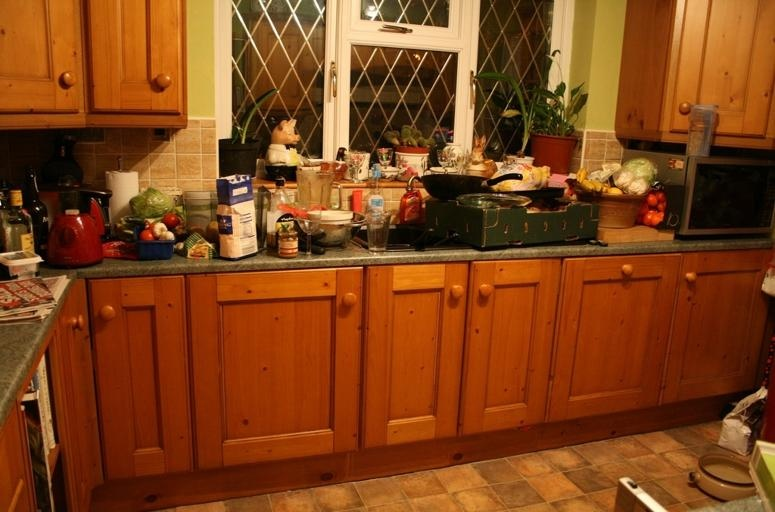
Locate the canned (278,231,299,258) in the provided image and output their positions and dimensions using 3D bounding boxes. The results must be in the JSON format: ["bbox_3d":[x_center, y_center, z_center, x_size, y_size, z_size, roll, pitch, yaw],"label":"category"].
[{"bbox_3d":[-0.485,-0.058,2.865,0.112,0.124,0.111,-2,11,-21],"label":"canned"}]

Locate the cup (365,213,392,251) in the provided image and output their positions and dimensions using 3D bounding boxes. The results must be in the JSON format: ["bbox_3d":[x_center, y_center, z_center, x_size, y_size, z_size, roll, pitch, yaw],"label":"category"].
[{"bbox_3d":[-0.063,-0.131,2.987,0.156,0.203,0.091,8,18,30],"label":"cup"}]

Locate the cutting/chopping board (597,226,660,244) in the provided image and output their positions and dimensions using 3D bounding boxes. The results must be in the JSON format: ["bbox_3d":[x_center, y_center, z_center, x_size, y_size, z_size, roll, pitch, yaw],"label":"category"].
[{"bbox_3d":[1.388,-0.125,3.376,0.446,0.068,0.160,-7,17,-21],"label":"cutting/chopping board"}]

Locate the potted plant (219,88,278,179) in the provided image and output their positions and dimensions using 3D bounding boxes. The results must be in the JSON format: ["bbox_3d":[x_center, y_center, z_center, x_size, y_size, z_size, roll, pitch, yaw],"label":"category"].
[{"bbox_3d":[-0.809,-0.682,3.323,0.282,0.442,0.227,-2,8,-4],"label":"potted plant"}]

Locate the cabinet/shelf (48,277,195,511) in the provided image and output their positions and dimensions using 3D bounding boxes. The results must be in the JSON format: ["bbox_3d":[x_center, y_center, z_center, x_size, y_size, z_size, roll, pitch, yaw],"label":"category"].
[{"bbox_3d":[-1.202,0.601,2.689,0.627,1.000,0.325,-12,19,-33],"label":"cabinet/shelf"}]

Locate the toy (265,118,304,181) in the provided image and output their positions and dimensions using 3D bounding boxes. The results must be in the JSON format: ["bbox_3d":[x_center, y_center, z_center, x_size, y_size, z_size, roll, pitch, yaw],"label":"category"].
[{"bbox_3d":[-0.597,-0.629,3.416,0.221,0.356,0.236,0,15,-19],"label":"toy"}]

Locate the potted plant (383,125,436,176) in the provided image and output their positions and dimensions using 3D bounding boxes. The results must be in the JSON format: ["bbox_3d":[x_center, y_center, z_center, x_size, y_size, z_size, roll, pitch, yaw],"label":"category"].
[{"bbox_3d":[0.115,-0.661,3.739,0.327,0.376,0.298,-1,8,-15],"label":"potted plant"}]

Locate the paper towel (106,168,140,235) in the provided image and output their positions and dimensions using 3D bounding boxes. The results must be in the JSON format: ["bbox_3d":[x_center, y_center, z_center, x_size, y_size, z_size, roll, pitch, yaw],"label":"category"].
[{"bbox_3d":[-1.363,-0.305,3.033,0.160,0.268,0.087,-8,17,-24],"label":"paper towel"}]

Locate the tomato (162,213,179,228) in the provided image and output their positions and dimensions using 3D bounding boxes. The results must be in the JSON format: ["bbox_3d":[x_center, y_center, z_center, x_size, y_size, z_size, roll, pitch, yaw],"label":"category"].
[{"bbox_3d":[-1.067,-0.180,2.890,0.071,0.069,0.071,-3,-2,0],"label":"tomato"}]

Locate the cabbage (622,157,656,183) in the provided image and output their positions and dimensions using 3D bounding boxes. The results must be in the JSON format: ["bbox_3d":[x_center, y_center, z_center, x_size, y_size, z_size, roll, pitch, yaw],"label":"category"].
[{"bbox_3d":[1.490,-0.537,3.496,0.147,0.098,0.174,-9,26,-37],"label":"cabbage"}]

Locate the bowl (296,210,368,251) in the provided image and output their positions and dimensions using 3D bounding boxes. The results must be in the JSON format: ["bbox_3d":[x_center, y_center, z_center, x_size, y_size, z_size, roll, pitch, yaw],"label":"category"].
[{"bbox_3d":[-0.303,-0.148,2.986,0.223,0.111,0.302,-2,7,-24],"label":"bowl"}]

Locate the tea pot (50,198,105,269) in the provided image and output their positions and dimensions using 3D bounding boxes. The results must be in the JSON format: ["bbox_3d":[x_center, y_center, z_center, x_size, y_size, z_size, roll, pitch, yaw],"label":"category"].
[{"bbox_3d":[-1.463,-0.102,2.723,0.223,0.247,0.282,0,19,-24],"label":"tea pot"}]

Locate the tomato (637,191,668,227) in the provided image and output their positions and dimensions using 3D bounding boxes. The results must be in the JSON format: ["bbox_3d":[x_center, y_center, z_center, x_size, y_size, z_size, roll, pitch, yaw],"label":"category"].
[{"bbox_3d":[1.601,-0.282,3.515,0.081,0.219,0.128,16,-6,-22],"label":"tomato"}]

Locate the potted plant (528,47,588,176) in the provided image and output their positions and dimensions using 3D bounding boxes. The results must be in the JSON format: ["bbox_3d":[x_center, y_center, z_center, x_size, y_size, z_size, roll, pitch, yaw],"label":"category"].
[{"bbox_3d":[1.104,-0.947,3.815,0.378,0.780,0.294,-14,20,-40],"label":"potted plant"}]

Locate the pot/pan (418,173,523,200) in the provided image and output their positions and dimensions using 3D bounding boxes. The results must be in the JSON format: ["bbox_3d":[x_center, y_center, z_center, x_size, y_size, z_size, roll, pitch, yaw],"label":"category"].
[{"bbox_3d":[0.428,-0.400,3.251,0.353,0.108,0.235,2,7,7],"label":"pot/pan"}]

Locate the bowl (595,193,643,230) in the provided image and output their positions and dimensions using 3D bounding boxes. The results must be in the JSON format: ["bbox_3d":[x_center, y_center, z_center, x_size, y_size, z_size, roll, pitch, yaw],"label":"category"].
[{"bbox_3d":[1.406,-0.259,3.506,0.327,0.201,0.331,7,5,-1],"label":"bowl"}]

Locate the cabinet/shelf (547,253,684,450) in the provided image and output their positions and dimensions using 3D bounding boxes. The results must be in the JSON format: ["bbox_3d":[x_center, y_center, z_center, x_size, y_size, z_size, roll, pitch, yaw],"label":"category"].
[{"bbox_3d":[1.527,0.583,3.518,0.843,1.011,0.901,18,-18,-11],"label":"cabinet/shelf"}]

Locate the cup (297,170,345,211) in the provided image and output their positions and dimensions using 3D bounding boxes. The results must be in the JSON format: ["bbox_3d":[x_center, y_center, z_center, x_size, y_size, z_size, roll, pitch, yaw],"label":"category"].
[{"bbox_3d":[-0.346,-0.369,3.270,0.269,0.232,0.179,7,18,2],"label":"cup"}]

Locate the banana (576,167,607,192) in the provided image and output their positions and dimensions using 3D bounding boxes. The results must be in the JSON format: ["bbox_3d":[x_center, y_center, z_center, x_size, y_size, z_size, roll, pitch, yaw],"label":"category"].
[{"bbox_3d":[1.206,-0.451,3.458,0.115,0.059,0.181,-1,31,24],"label":"banana"}]

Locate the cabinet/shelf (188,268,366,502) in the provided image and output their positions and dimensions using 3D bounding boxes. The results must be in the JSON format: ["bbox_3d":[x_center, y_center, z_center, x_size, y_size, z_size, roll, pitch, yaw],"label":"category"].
[{"bbox_3d":[-0.610,0.546,3.319,1.106,1.336,0.906,-2,7,-16],"label":"cabinet/shelf"}]

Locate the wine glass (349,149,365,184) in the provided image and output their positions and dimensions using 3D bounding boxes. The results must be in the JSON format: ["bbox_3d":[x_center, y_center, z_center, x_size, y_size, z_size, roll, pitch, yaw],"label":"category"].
[{"bbox_3d":[-0.169,-0.538,3.481,0.071,0.169,0.143,9,19,33],"label":"wine glass"}]

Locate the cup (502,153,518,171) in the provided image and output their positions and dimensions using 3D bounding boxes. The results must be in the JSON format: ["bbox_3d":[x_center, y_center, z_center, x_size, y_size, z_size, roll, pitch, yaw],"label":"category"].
[{"bbox_3d":[0.756,-0.589,3.614,0.117,0.070,0.177,1,21,5],"label":"cup"}]

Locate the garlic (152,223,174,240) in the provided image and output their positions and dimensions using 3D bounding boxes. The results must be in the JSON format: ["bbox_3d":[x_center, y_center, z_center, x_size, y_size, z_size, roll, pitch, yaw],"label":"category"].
[{"bbox_3d":[-1.077,-0.119,2.800,0.083,0.054,0.058,14,-10,45],"label":"garlic"}]

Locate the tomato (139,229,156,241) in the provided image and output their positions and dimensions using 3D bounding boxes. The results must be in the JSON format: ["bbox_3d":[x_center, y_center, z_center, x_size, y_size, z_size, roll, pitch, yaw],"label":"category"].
[{"bbox_3d":[-1.140,-0.101,2.776,0.054,0.054,0.054,10,2,6],"label":"tomato"}]

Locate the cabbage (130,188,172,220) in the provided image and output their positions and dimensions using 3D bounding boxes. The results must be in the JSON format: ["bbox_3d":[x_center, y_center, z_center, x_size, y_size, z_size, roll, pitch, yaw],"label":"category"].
[{"bbox_3d":[-1.149,-0.263,2.901,0.181,0.116,0.148,-2,8,18],"label":"cabbage"}]

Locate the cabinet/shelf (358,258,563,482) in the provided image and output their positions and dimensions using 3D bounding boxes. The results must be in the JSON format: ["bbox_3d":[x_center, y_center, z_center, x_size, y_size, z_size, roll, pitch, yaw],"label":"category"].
[{"bbox_3d":[0.339,0.464,3.357,1.185,1.009,0.573,-2,12,-21],"label":"cabinet/shelf"}]

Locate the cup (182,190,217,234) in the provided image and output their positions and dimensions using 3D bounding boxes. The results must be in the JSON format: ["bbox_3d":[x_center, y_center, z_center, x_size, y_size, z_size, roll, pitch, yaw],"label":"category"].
[{"bbox_3d":[-0.965,-0.249,3.038,0.206,0.220,0.205,3,16,-1],"label":"cup"}]
